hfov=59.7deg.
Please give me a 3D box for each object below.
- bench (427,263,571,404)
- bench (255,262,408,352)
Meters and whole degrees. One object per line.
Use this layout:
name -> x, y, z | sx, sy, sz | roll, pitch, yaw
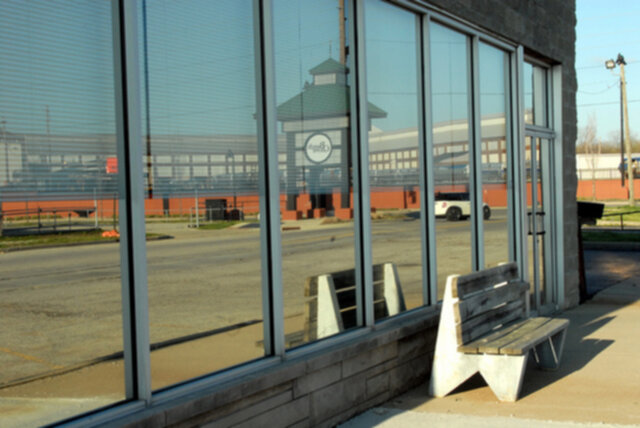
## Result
bench -> 2.042, 1.266, 6.286 | 1.096, 1.263, 1.893 | -4, -2, 36
bench -> 0.166, 0.696, 6.219 | 1.534, 0.893, 0.729 | -5, -1, -39
